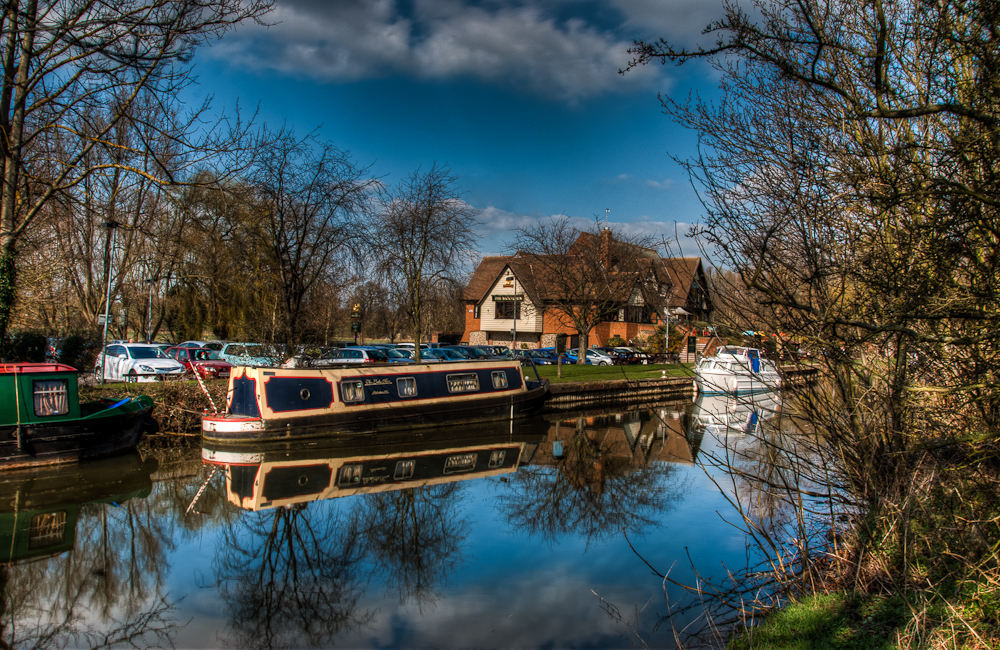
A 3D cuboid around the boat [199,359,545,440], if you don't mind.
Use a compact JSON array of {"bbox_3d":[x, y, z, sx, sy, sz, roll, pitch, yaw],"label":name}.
[{"bbox_3d":[-3.789,2.247,24.081,12.060,2.354,3.185,-1,0,-36],"label":"boat"}]
